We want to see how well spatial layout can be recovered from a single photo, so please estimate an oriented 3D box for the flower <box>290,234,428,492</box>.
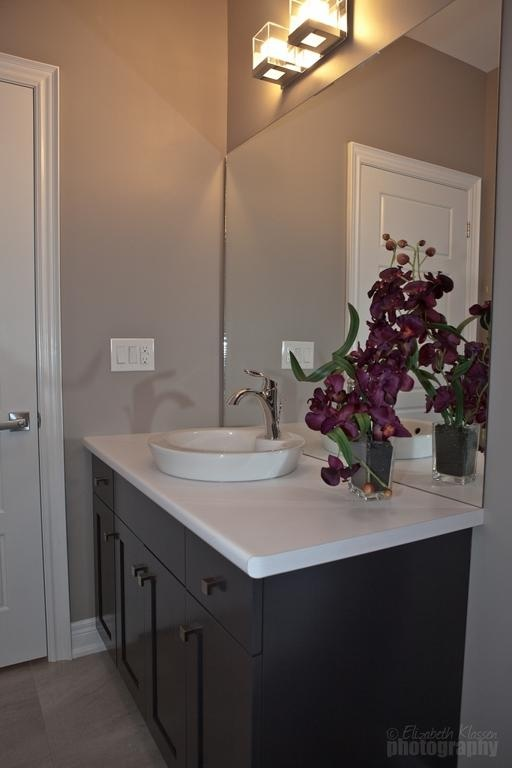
[{"bbox_3d":[0.210,-0.049,1.199,0.273,0.532,0.361,5,9,3],"label":"flower"}]
